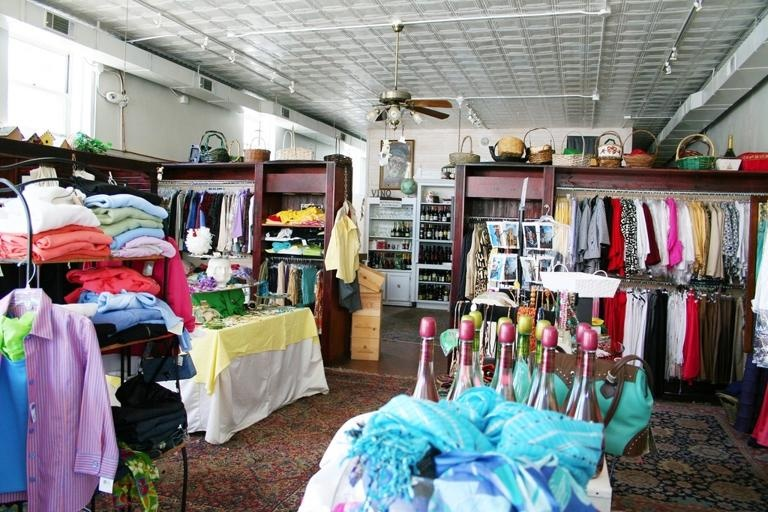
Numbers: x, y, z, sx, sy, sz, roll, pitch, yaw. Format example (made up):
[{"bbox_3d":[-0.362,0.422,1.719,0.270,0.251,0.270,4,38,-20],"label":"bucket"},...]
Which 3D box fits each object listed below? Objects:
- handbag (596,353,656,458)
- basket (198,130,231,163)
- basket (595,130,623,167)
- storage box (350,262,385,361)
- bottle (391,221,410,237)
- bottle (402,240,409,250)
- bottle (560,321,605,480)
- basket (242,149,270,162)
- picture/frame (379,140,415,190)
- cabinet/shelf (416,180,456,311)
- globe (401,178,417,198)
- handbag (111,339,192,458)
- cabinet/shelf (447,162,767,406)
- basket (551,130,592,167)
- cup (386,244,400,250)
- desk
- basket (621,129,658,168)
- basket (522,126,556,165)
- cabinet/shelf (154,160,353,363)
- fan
[{"bbox_3d":[1.188,0.736,2.710,0.272,0.469,0.492,2,-9,-8],"label":"handbag"},{"bbox_3d":[-2.508,-1.553,7.999,0.412,0.515,0.584,3,2,-34],"label":"basket"},{"bbox_3d":[2.873,-1.363,6.891,0.323,0.440,0.305,2,4,3],"label":"basket"},{"bbox_3d":[-0.243,0.784,7.547,0.431,1.281,0.406,2,7,-4],"label":"storage box"},{"bbox_3d":[0.386,-0.597,12.107,0.370,0.341,0.121,1,-2,8],"label":"bottle"},{"bbox_3d":[0.476,-0.235,12.036,0.216,0.271,0.109,1,-10,1],"label":"bottle"},{"bbox_3d":[0.815,0.476,2.169,0.143,0.411,0.367,5,7,22],"label":"bottle"},{"bbox_3d":[-1.775,-1.396,7.547,0.340,0.207,0.298,1,7,-15],"label":"basket"},{"bbox_3d":[0.307,-2.099,12.557,0.784,1.176,0.267,1,7,-8],"label":"picture/frame"},{"bbox_3d":[1.155,-0.597,11.712,0.726,1.743,0.416,0,-12,20],"label":"cabinet/shelf"},{"bbox_3d":[0.510,-1.446,11.598,0.352,0.410,0.363,0,11,19],"label":"globe"},{"bbox_3d":[-1.662,1.030,3.831,0.505,0.265,0.632,2,8,-27],"label":"handbag"},{"bbox_3d":[2.489,0.213,5.352,2.950,2.117,0.968,2,4,9],"label":"cabinet/shelf"},{"bbox_3d":[2.428,-1.372,6.999,0.347,0.350,0.479,-15,17,-29],"label":"basket"},{"bbox_3d":[0.200,-0.201,12.104,0.200,0.137,0.116,0,2,-2],"label":"cup"},{"bbox_3d":[-1.660,1.079,5.639,1.485,0.958,2.058,2,2,16],"label":"desk"},{"bbox_3d":[3.267,-1.353,6.898,0.398,0.511,0.383,4,-1,-35],"label":"basket"},{"bbox_3d":[1.942,-1.398,6.997,0.323,0.411,0.327,-8,-1,-36],"label":"basket"},{"bbox_3d":[-1.756,-0.285,7.804,2.209,2.073,0.728,6,10,0],"label":"cabinet/shelf"},{"bbox_3d":[0.243,-2.243,6.571,1.114,1.155,1.035,3,2,-1],"label":"fan"}]
